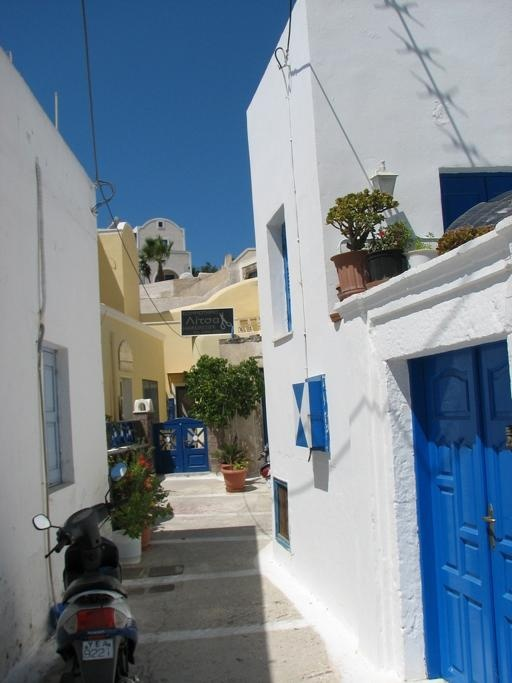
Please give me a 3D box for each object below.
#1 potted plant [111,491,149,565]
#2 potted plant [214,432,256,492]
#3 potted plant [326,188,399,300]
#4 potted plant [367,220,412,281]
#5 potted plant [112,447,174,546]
[{"bbox_3d":[-1.469,2.349,7.139,0.387,0.850,0.479,19,-31,-29],"label":"potted plant"},{"bbox_3d":[-0.556,2.880,13.563,0.697,1.188,0.668,8,-22,-33],"label":"potted plant"},{"bbox_3d":[0.847,-0.798,4.655,0.406,0.862,0.624,-3,-1,-21],"label":"potted plant"},{"bbox_3d":[0.959,-0.675,4.379,0.264,0.417,0.280,-6,30,-6],"label":"potted plant"},{"bbox_3d":[-1.629,2.095,7.650,0.907,0.870,1.023,-4,-19,44],"label":"potted plant"}]
